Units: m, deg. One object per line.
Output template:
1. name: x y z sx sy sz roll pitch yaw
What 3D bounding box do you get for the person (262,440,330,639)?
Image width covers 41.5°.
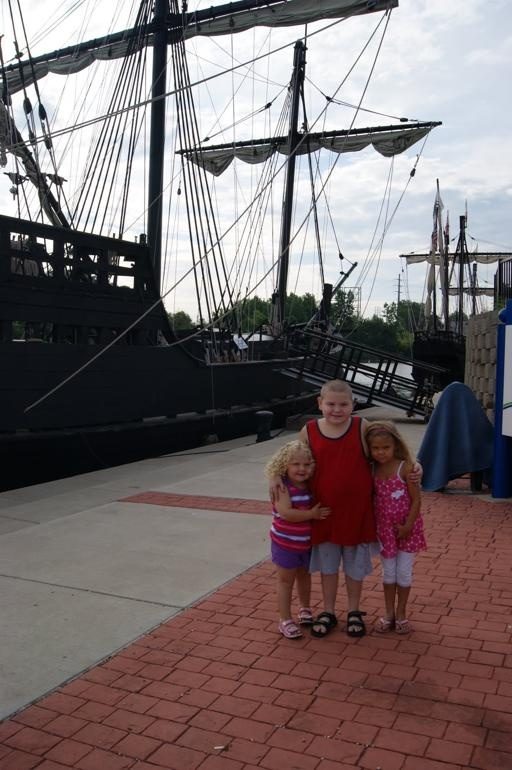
1. person: 0.185 0.729 3.233 0.272 0.916 0.300 -1 2 -3
